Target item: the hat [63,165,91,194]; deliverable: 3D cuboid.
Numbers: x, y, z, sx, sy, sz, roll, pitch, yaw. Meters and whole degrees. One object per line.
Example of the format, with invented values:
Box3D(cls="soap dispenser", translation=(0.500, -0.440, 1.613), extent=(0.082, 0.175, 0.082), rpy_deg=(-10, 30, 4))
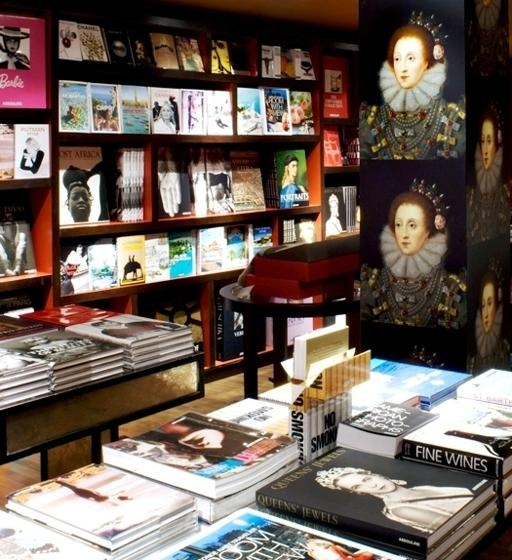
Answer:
Box3D(cls="hat", translation=(-1.270, -0.726, 3.569), extent=(0.232, 0.159, 0.224), rpy_deg=(1, 6, -25))
